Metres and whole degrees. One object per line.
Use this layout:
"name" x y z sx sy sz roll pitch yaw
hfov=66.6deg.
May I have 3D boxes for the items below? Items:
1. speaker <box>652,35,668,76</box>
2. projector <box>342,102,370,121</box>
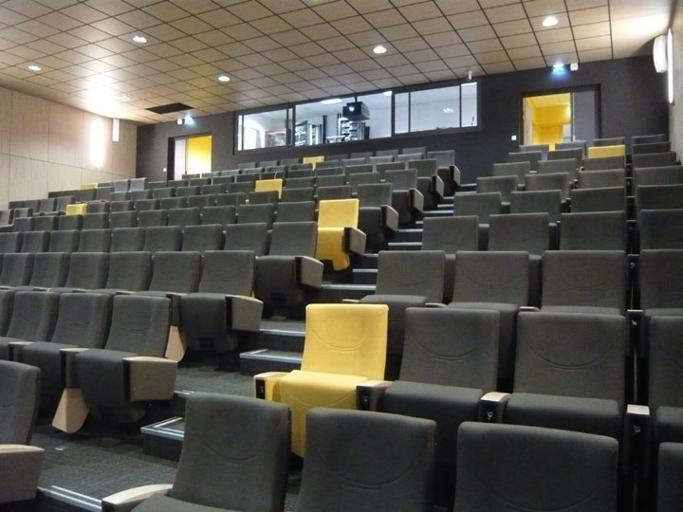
"speaker" 3.008 -1.914 4.917 0.068 0.288 0.212 5 8 23
"projector" 0.168 -1.859 6.721 0.272 0.173 0.277 3 6 32
